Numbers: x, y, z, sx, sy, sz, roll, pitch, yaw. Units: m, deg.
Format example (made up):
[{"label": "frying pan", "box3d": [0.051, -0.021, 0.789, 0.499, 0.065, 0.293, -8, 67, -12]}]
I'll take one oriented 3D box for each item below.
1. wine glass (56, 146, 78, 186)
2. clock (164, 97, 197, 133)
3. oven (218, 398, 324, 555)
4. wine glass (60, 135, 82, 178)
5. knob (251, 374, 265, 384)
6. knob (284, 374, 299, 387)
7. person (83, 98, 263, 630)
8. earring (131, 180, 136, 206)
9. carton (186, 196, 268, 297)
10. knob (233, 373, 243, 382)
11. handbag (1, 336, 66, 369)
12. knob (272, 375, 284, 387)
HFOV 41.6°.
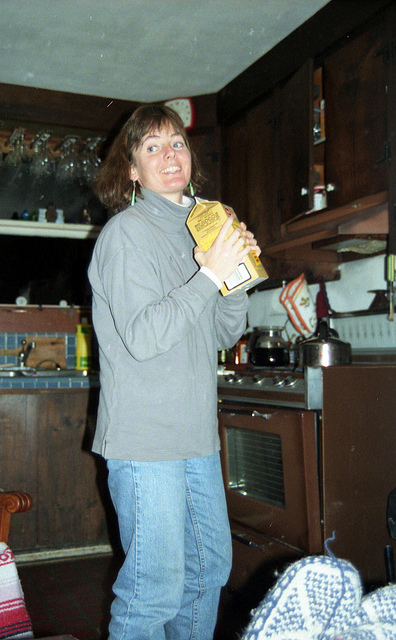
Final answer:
[{"label": "wine glass", "box3d": [-0.918, -1.048, 3.623, 0.187, 0.330, 0.164, -6, 25, -12]}, {"label": "clock", "box3d": [-0.129, -1.260, 3.215, 0.092, 0.263, 0.260, 2, -4, -44]}, {"label": "oven", "box3d": [0.316, 0.508, 1.836, 0.352, 0.503, 0.549, 3, -6, -23]}, {"label": "wine glass", "box3d": [-0.846, -1.061, 3.452, 0.142, 0.206, 0.367, 0, -3, -13]}, {"label": "knob", "box3d": [0.216, 0.215, 1.887, 0.031, 0.016, 0.031, -24, -7, -26]}, {"label": "knob", "box3d": [0.305, 0.198, 1.707, 0.018, 0.037, 0.025, 24, 5, 40]}, {"label": "person", "box3d": [-0.039, 0.120, 1.172, 0.407, 1.295, 0.404, 0, -3, -12]}, {"label": "earring", "box3d": [-0.164, -0.322, 1.321, 0.012, 0.062, 0.029, 0, -3, -9]}, {"label": "carton", "box3d": [0.067, -0.185, 1.203, 0.182, 0.246, 0.221, 0, -3, -11]}, {"label": "knob", "box3d": [0.154, 0.222, 2.018, 0.021, 0.021, 0.022, 0, 2, -16]}, {"label": "handbag", "box3d": [-1.089, 0.215, 3.438, 0.411, 0.215, 0.253, 0, -3, -16]}, {"label": "knob", "box3d": [0.269, 0.203, 1.737, 0.029, 0.028, 0.029, -9, 31, -7]}]
